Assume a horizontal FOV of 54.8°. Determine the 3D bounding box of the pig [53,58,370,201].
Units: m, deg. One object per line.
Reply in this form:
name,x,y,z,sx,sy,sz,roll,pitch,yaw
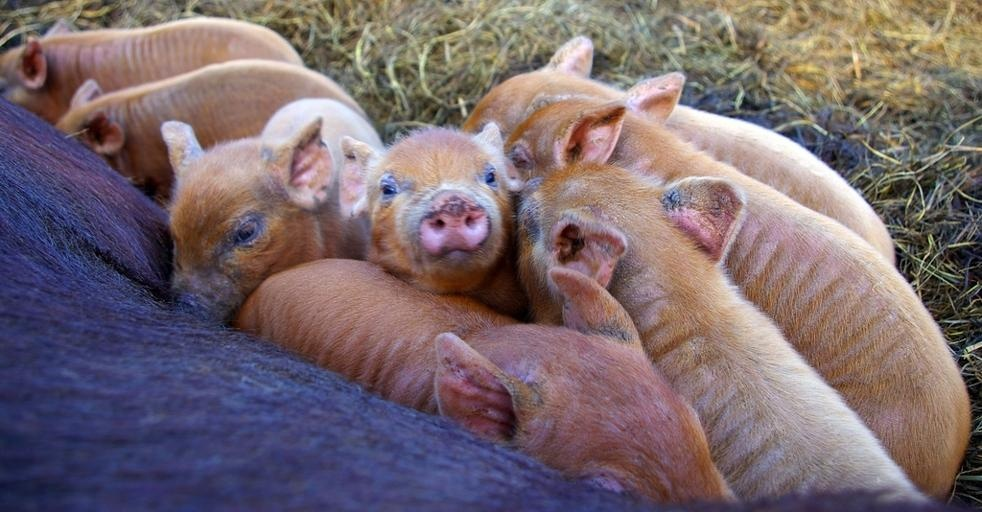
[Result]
pig,-1.619,-0.846,6.069,2.103,0.998,0.713,-4,18,-1
